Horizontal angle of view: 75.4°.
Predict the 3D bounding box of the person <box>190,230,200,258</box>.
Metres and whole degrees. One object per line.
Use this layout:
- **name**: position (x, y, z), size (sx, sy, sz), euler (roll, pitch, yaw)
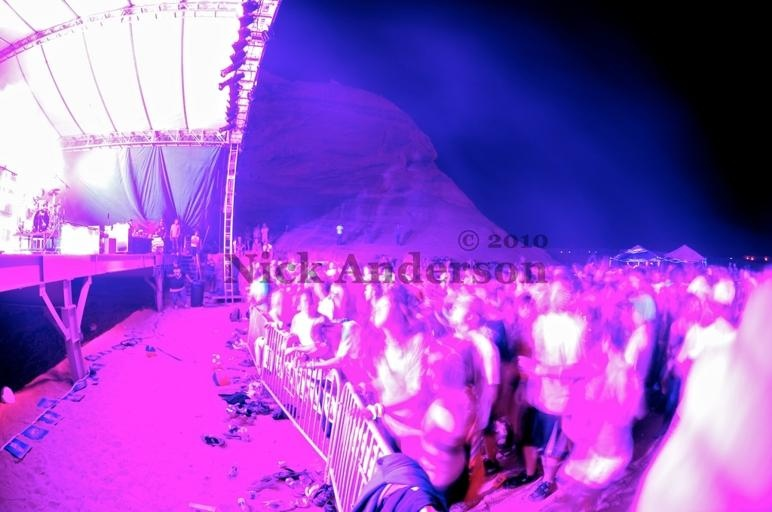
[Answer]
- **person**: position (-9.581, -0.555, 25.074), size (0.346, 1.369, 1.331), euler (7, -13, -25)
